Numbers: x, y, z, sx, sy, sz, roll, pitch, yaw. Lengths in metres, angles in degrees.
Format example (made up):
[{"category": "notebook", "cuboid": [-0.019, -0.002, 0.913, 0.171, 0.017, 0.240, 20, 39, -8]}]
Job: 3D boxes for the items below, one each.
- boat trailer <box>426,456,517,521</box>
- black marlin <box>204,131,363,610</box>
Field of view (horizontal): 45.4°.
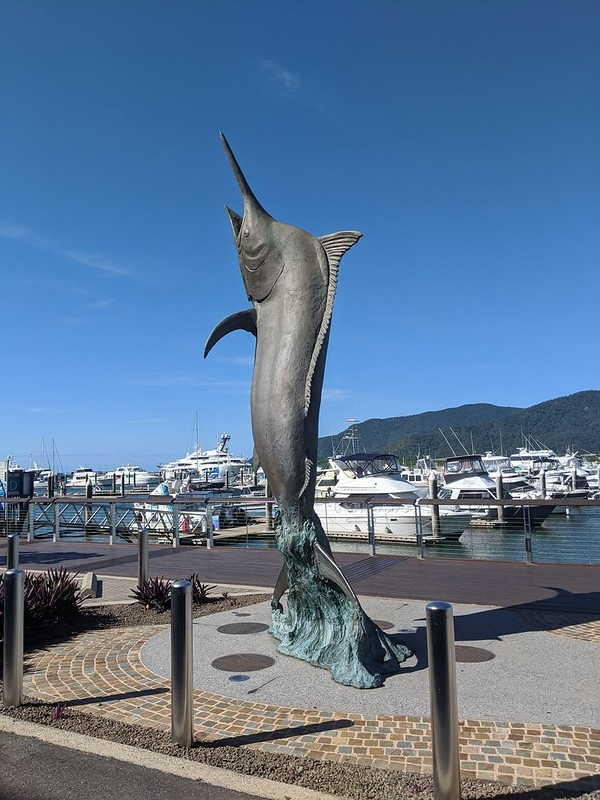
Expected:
[{"category": "boat trailer", "cuboid": [7.678, 3.737, 31.172, 2.307, 3.469, 7.240, 1, -2, -13]}, {"category": "black marlin", "cuboid": [-0.123, -0.364, 5.688, 1.243, 3.715, 1.098, -7, -10, 8]}]
